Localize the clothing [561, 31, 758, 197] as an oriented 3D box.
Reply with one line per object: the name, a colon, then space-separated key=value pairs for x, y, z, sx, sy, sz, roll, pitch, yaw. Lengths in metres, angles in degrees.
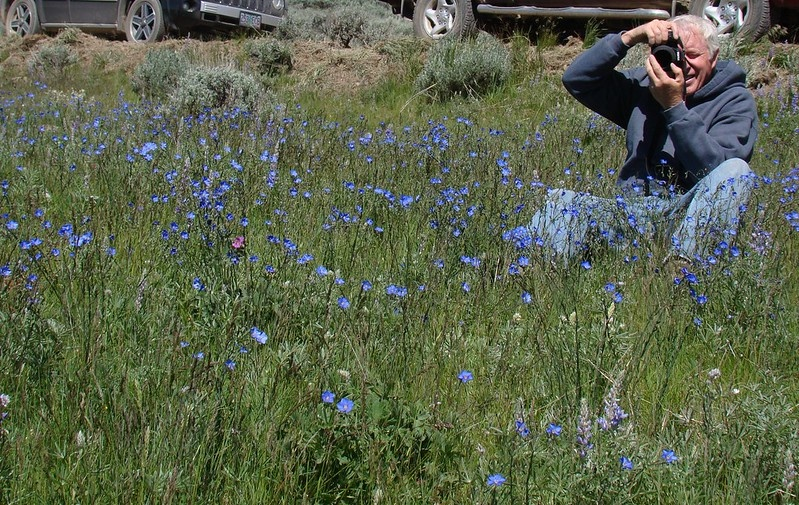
clothing: x=2.133 y=-1.020 z=6.754 sx=1.010 sy=1.804 sz=1.316 roll=4 pitch=9 yaw=-37
